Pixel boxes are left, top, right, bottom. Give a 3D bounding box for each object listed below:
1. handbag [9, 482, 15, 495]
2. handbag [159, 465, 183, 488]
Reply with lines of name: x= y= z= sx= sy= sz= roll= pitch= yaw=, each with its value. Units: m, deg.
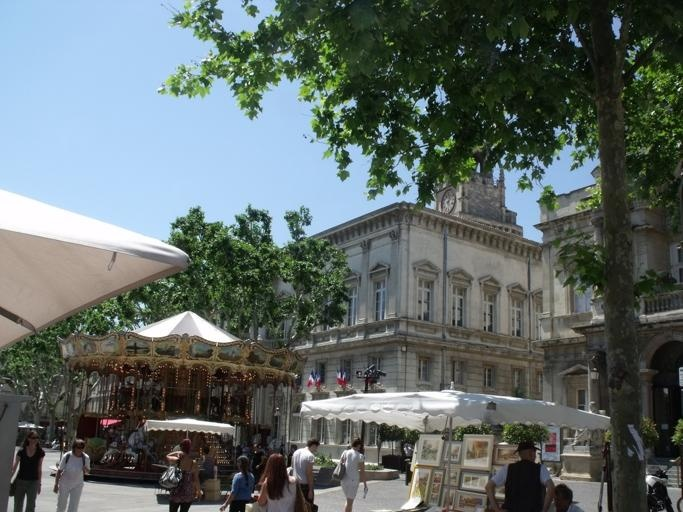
handbag: x=-6.480 y=4.609 z=12.690 sx=0.071 sy=0.213 sz=0.698 roll=12 pitch=-25 yaw=-20
handbag: x=-3.289 y=4.287 z=12.434 sx=0.250 sy=0.426 sz=0.917 roll=12 pitch=-25 yaw=-20
